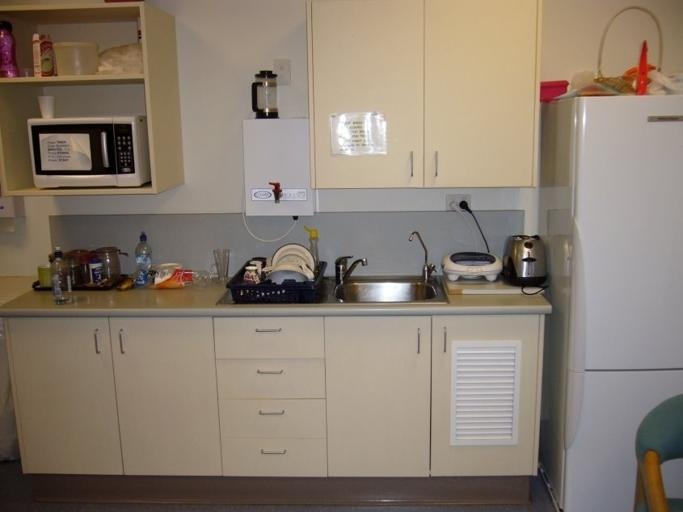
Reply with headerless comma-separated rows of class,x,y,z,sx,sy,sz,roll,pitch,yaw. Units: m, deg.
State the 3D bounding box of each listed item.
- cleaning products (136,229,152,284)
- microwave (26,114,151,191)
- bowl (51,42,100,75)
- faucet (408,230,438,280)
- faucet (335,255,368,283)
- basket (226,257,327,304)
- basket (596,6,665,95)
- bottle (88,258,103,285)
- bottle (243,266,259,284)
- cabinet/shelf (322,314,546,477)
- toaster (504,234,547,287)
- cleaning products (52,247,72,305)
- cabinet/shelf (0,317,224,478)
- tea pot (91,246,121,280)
cleaning products,-1.285,0.010,3.895,0.106,0.325,0.228,-5,8,-15
microwave,-1.462,-0.588,3.504,0.634,0.426,0.408,0,7,1
bowl,-1.554,-1.144,3.522,0.209,0.154,0.209,2,15,-1
faucet,0.505,-0.004,3.830,0.170,0.317,0.241,-2,7,6
faucet,0.055,0.081,3.861,0.204,0.169,0.216,-2,7,5
basket,-0.383,0.153,3.649,0.534,0.197,0.424,-2,7,4
basket,1.700,-1.284,3.591,0.371,0.450,0.548,1,8,27
bottle,-1.545,0.095,3.790,0.080,0.156,0.059,-8,9,-32
bottle,-0.543,0.111,3.583,0.094,0.088,0.088,2,-1,-10
cabinet/shelf,0.525,0.751,3.440,0.916,0.685,0.351,0,3,1
toaster,1.119,-0.032,3.695,0.239,0.350,0.361,2,24,15
cleaning products,-1.697,0.107,3.655,0.107,0.301,0.362,-6,8,-24
cabinet/shelf,-1.282,0.784,3.490,0.933,0.683,0.333,0,2,0
tea pot,-1.495,0.044,3.876,0.213,0.208,0.150,5,7,-14
